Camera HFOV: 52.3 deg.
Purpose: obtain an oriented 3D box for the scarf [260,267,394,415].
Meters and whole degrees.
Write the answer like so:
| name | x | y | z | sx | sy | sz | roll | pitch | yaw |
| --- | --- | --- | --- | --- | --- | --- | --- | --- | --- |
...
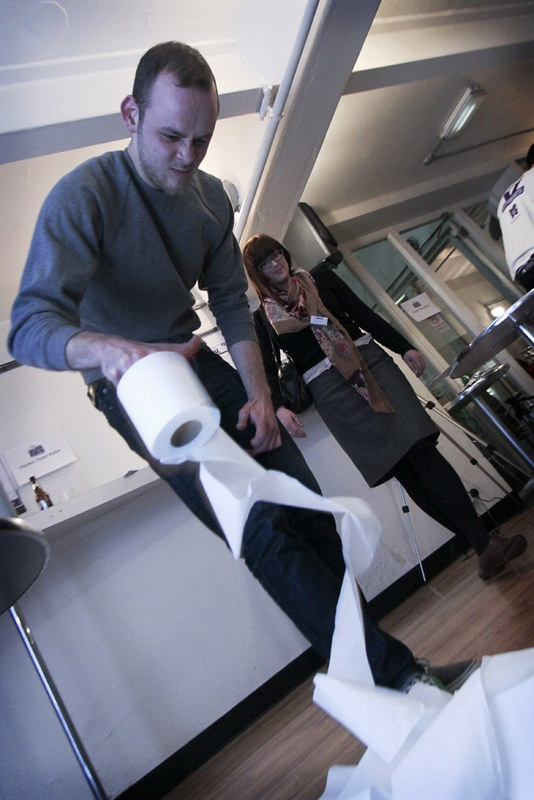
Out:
| name | x | y | z | sx | sy | sz | roll | pitch | yaw |
| --- | --- | --- | --- | --- | --- | --- | --- | --- | --- |
| scarf | 0.194 | -0.245 | 2.024 | 0.236 | 0.731 | 0.079 | -36 | -19 | -4 |

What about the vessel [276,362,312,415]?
| name | x | y | z | sx | sy | sz | roll | pitch | yaw |
| --- | --- | --- | --- | --- | --- | --- | --- | --- | --- |
| vessel | 0.094 | -0.044 | 2.024 | 0.084 | 0.189 | 0.133 | -20 | -13 | -5 |

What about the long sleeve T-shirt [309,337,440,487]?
| name | x | y | z | sx | sy | sz | roll | pitch | yaw |
| --- | --- | --- | --- | --- | --- | --- | --- | --- | --- |
| long sleeve T-shirt | 0.352 | 0.051 | 1.830 | 0.369 | 0.491 | 0.133 | -38 | -26 | 10 |

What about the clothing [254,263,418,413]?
| name | x | y | z | sx | sy | sz | roll | pitch | yaw |
| --- | --- | --- | --- | --- | --- | --- | --- | --- | --- |
| clothing | 0.253 | -0.226 | 2.093 | 0.653 | 0.610 | 0.210 | -25 | -16 | -31 |

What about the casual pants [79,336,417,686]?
| name | x | y | z | sx | sy | sz | roll | pitch | yaw |
| --- | --- | --- | --- | --- | --- | --- | --- | --- | --- |
| casual pants | -0.101 | 0.062 | 1.297 | 0.297 | 1.264 | 0.339 | -26 | -36 | -25 |
